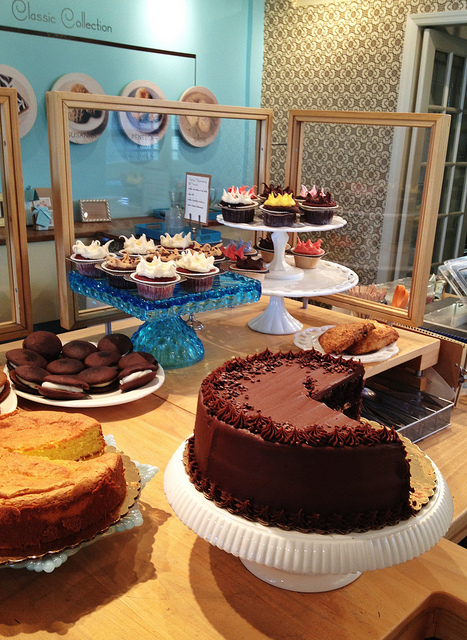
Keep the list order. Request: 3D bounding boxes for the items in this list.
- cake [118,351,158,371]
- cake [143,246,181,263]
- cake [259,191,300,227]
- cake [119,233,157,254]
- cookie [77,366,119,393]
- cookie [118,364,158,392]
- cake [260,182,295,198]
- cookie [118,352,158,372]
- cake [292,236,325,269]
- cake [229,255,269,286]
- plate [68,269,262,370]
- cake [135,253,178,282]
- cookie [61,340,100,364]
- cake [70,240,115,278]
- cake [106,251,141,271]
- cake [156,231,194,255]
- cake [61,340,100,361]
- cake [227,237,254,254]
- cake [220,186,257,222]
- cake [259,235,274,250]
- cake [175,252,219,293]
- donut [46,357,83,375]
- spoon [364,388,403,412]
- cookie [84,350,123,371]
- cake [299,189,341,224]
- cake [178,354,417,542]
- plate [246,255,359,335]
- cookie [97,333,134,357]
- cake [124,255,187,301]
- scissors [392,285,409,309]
[{"bbox_3d":[-0.229,0.093,1.123,0.055,0.022,0.053,-7,15,-39],"label":"cake"},{"bbox_3d":[-0.181,-0.168,1.230,0.066,0.024,0.059,5,16,26],"label":"cake"},{"bbox_3d":[0.144,-0.335,1.431,0.106,0.080,0.108,-3,17,-5],"label":"cake"},{"bbox_3d":[-0.266,-0.208,1.315,0.081,0.034,0.088,1,18,-6],"label":"cake"},{"bbox_3d":[-0.307,0.126,1.052,0.068,0.033,0.064,0,6,6],"label":"cookie"},{"bbox_3d":[-0.221,0.130,1.081,0.065,0.033,0.068,-21,-10,12],"label":"cookie"},{"bbox_3d":[0.157,-0.437,1.619,0.135,0.051,0.126,-3,12,-12],"label":"cake"},{"bbox_3d":[-0.239,0.092,1.123,0.055,0.023,0.056,13,15,42],"label":"cookie"},{"bbox_3d":[0.256,-0.233,1.650,0.112,0.086,0.106,-1,13,-4],"label":"cake"},{"bbox_3d":[0.056,-0.148,1.414,0.088,0.054,0.084,4,11,-1],"label":"cake"},{"bbox_3d":[-0.173,-0.093,1.236,0.467,0.224,0.314,-14,28,-37],"label":"plate"},{"bbox_3d":[-0.177,-0.124,1.137,0.099,0.056,0.148,6,10,10],"label":"cake"},{"bbox_3d":[-0.374,0.069,1.144,0.063,0.027,0.059,6,17,-2],"label":"cookie"},{"bbox_3d":[-0.382,-0.169,1.313,0.112,0.075,0.108,10,14,14],"label":"cake"},{"bbox_3d":[-0.276,-0.156,1.180,0.062,0.021,0.061,-17,25,-42],"label":"cake"},{"bbox_3d":[-0.170,-0.226,1.340,0.080,0.038,0.076,4,19,15],"label":"cake"},{"bbox_3d":[-0.370,0.065,1.146,0.060,0.013,0.057,7,16,-3],"label":"cake"},{"bbox_3d":[0.036,-0.242,1.581,0.073,0.042,0.069,1,11,-1],"label":"cake"},{"bbox_3d":[0.020,-0.358,1.465,0.110,0.085,0.112,-1,18,-3],"label":"cake"},{"bbox_3d":[0.117,-0.274,1.711,0.046,0.041,0.079,4,10,0],"label":"cake"},{"bbox_3d":[-0.100,-0.119,1.191,0.116,0.074,0.101,2,28,-28],"label":"cake"},{"bbox_3d":[-0.376,0.106,1.067,0.071,0.022,0.055,-3,12,-34],"label":"donut"},{"bbox_3d":[0.459,0.247,1.451,0.014,0.014,0.100,-44,46,-8],"label":"spoon"},{"bbox_3d":[-0.303,0.091,1.098,0.055,0.025,0.054,-5,12,-42],"label":"cookie"},{"bbox_3d":[0.281,-0.349,1.486,0.117,0.079,0.110,1,11,1],"label":"cake"},{"bbox_3d":[0.077,0.157,0.584,0.203,0.081,0.273,-8,18,-15],"label":"cake"},{"bbox_3d":[0.234,-0.084,1.563,0.291,0.101,0.274,4,27,8],"label":"plate"},{"bbox_3d":[-0.295,0.067,1.196,0.068,0.016,0.061,6,17,-15],"label":"cookie"},{"bbox_3d":[-0.181,-0.096,1.116,0.150,0.102,0.100,2,10,-11],"label":"cake"},{"bbox_3d":[0.557,-0.079,1.581,0.030,0.070,0.052,-11,34,-12],"label":"scissors"}]
